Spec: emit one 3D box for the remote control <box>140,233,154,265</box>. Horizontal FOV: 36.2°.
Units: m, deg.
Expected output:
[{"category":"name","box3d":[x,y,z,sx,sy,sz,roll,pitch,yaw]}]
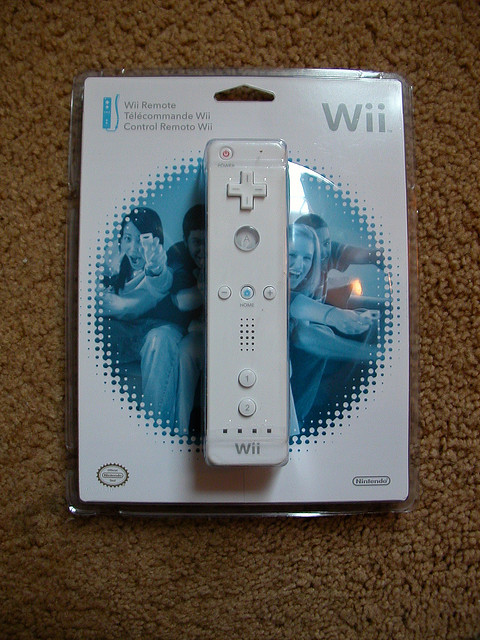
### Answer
[{"category":"remote control","box3d":[-0.076,-0.060,0.605,0.011,0.002,0.026,-19,87,-1]}]
